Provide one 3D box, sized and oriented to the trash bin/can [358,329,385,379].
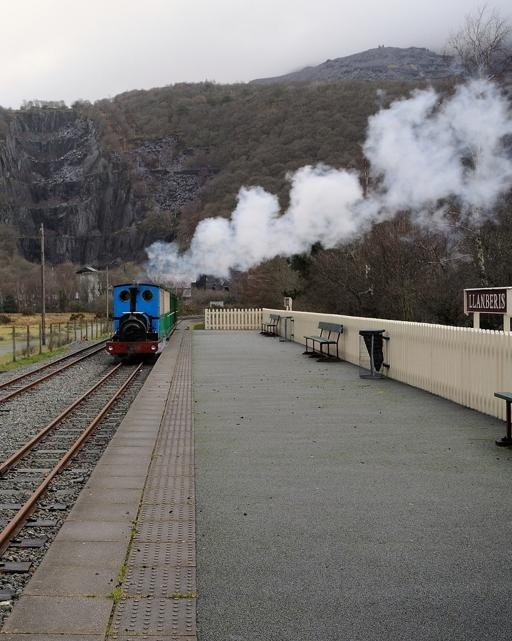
[{"bbox_3d":[2.726,0.761,13.961,0.559,1.090,1.125,-1,2,12],"label":"trash bin/can"}]
